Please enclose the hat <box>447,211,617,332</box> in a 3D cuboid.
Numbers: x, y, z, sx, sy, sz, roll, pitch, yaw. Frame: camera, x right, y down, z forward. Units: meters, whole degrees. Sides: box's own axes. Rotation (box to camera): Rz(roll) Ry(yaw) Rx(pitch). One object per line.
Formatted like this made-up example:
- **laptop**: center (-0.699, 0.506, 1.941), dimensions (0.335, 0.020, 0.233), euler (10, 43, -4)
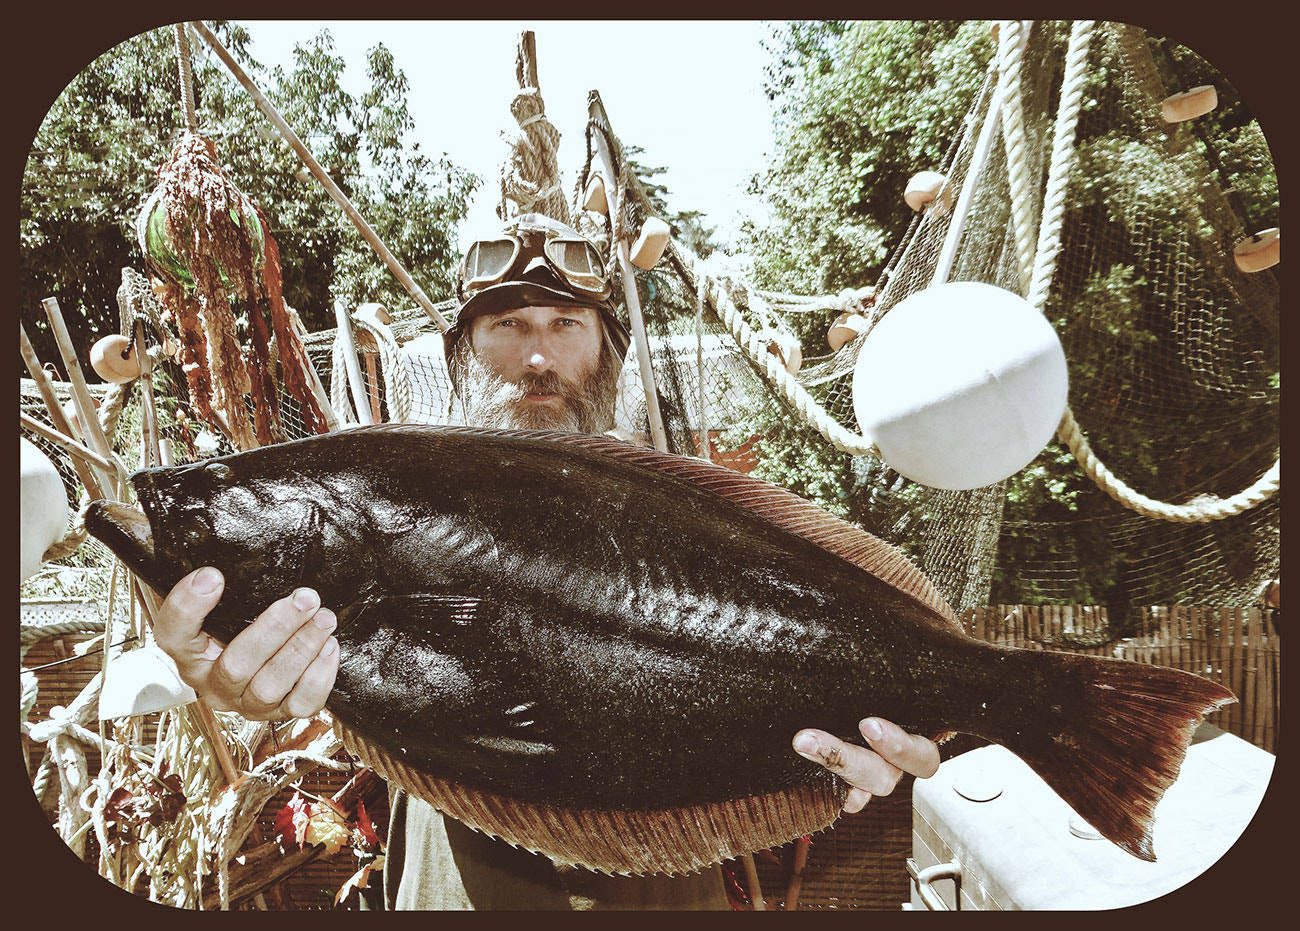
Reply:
- **hat**: center (-0.251, -0.426, 2.687), dimensions (0.269, 0.148, 0.367), euler (-12, -11, -10)
